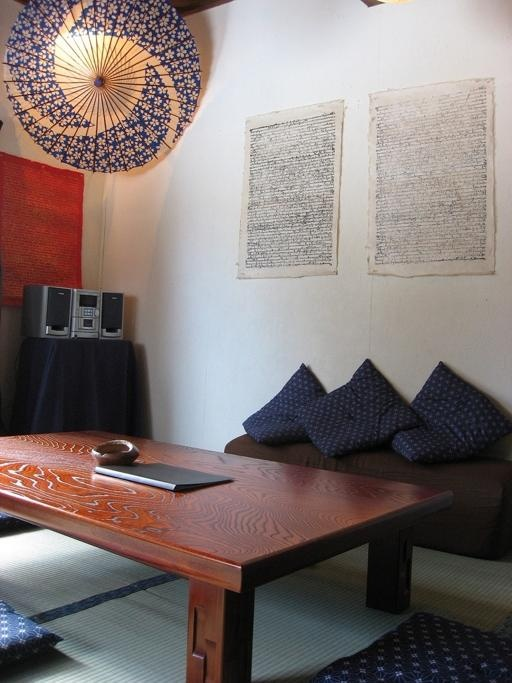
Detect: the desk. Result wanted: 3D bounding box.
[{"bbox_3d":[-1.111,0.329,3.680,0.755,0.685,0.392,0,1,11],"label":"desk"}]
